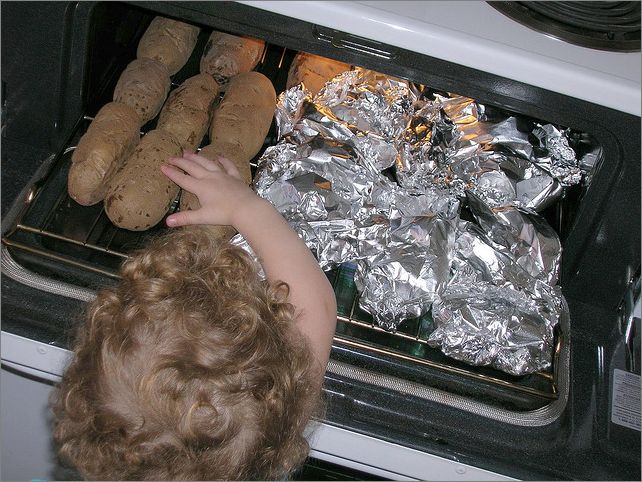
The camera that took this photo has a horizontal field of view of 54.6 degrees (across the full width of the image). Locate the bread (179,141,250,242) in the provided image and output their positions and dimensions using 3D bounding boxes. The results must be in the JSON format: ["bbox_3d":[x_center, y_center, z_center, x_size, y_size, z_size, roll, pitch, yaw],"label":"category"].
[{"bbox_3d":[-0.183,-0.111,1.116,0.094,0.064,0.199,10,56,7],"label":"bread"}]

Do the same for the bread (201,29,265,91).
[{"bbox_3d":[-0.180,-0.375,1.307,0.103,0.081,0.145,21,55,8],"label":"bread"}]

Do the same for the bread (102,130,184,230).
[{"bbox_3d":[-0.313,-0.103,1.117,0.092,0.068,0.186,28,56,-6],"label":"bread"}]

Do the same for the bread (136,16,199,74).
[{"bbox_3d":[-0.304,-0.397,1.233,0.078,0.057,0.155,26,36,-8],"label":"bread"}]
